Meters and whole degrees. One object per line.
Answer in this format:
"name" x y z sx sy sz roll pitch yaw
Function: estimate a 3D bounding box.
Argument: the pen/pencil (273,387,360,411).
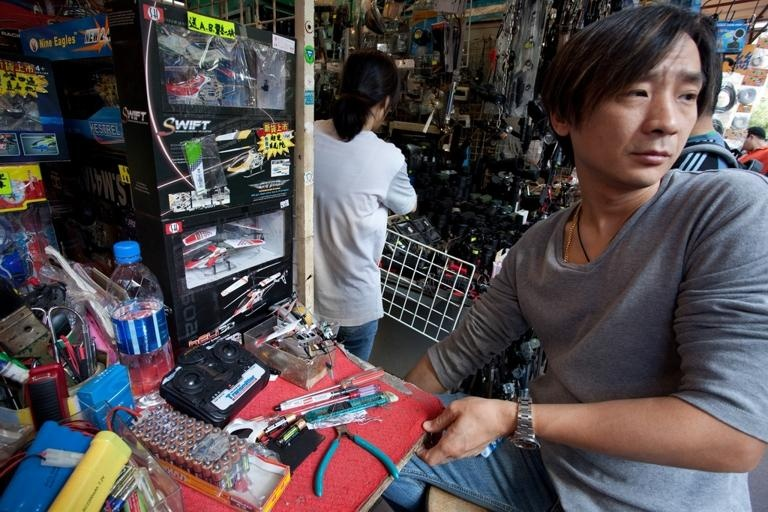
"pen/pencil" -0.223 0.478 1.520 0.207 0.027 0.027 -8 30 -24

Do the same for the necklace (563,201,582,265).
"necklace" 0.678 -0.084 1.657 0.105 0.204 0.033 7 -14 5

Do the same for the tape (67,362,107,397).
"tape" -0.903 0.375 1.393 0.068 0.026 0.068 -44 10 -6

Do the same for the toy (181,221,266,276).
"toy" -0.604 -0.037 1.706 0.191 0.162 0.271 9 13 42

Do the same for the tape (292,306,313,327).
"tape" -0.320 0.234 1.806 0.076 0.072 0.063 25 49 26
